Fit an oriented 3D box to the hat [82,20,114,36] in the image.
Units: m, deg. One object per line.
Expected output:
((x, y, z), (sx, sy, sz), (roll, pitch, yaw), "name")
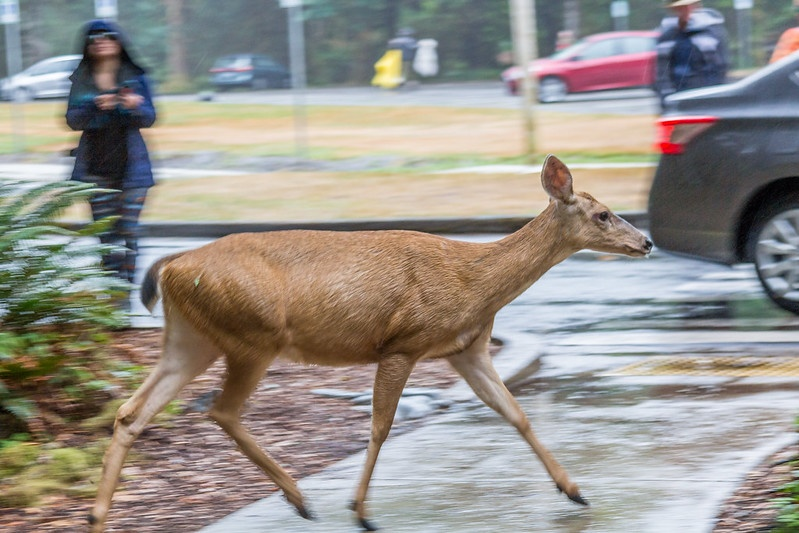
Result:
((-2.878, -2.281, 9.342), (0.287, 0.168, 0.318), (-4, 12, -13), "hat")

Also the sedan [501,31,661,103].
((3.384, -3.521, 17.130), (2.027, 1.219, 0.567), (0, 16, 4), "sedan")

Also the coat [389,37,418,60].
((0.084, -3.937, 17.543), (0.572, 0.344, 0.548), (-9, 14, -41), "coat")
